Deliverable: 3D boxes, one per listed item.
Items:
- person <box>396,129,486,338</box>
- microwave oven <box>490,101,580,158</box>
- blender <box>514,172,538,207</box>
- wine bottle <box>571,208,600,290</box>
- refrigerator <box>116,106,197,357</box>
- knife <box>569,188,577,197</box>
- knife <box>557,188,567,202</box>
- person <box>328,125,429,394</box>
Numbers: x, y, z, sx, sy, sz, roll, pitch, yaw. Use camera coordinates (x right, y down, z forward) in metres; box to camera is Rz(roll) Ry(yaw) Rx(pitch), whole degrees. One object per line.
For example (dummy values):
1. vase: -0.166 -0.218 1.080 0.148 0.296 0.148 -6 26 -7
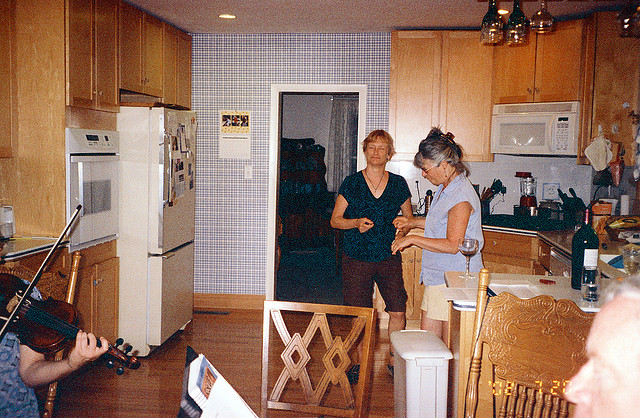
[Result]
1. person: 0.776 0.376 3.714 0.715 1.759 0.698 2 17 11
2. microwave oven: 2.067 -0.734 4.946 0.758 0.468 0.475 7 4 42
3. blender: 2.044 -0.215 5.225 0.224 0.311 0.395 5 12 21
4. wine bottle: 1.426 0.210 2.846 0.131 0.423 0.131 -3 15 1
5. refrigerator: -1.660 0.193 4.955 0.746 2.151 1.196 1 3 1
6. knife: 2.417 -0.156 5.044 0.020 0.086 0.066 -16 26 48
7. knife: 2.327 -0.135 5.064 0.039 0.043 0.143 6 48 -10
8. person: 0.441 0.345 4.013 0.722 1.866 0.686 0 13 -6
